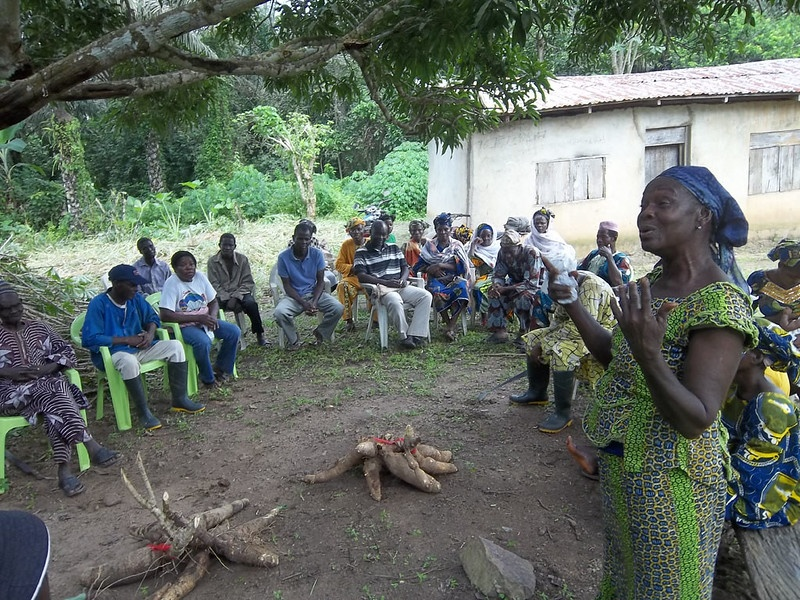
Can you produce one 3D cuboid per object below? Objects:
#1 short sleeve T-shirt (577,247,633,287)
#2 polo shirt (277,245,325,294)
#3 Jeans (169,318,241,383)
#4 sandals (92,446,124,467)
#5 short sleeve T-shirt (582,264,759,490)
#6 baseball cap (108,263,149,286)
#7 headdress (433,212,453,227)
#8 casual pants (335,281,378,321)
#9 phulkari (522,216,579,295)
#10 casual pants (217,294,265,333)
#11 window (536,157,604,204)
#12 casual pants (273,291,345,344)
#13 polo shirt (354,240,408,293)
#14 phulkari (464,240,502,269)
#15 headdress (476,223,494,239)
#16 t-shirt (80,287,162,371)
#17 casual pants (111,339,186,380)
[{"bbox_3d":[2.177,-0.334,6.675,0.412,0.413,0.647,-4,13,-32],"label":"short sleeve T-shirt"},{"bbox_3d":[-1.306,-0.375,8.347,0.675,0.623,0.352,-2,3,-15],"label":"polo shirt"},{"bbox_3d":[-2.198,0.402,7.013,0.827,0.895,0.810,-2,17,-14],"label":"Jeans"},{"bbox_3d":[-2.492,1.326,5.382,0.217,0.094,0.125,3,9,30],"label":"sandals"},{"bbox_3d":[1.207,0.367,2.881,0.724,0.886,0.329,-1,11,14],"label":"short sleeve T-shirt"},{"bbox_3d":[-2.590,-0.214,6.031,0.335,0.181,0.207,3,13,-23],"label":"baseball cap"},{"bbox_3d":[0.588,-1.093,8.874,0.339,0.134,0.375,1,16,8],"label":"headdress"},{"bbox_3d":[-0.667,0.020,8.755,0.601,0.694,0.554,0,-4,-12],"label":"casual pants"},{"bbox_3d":[2.119,-0.647,8.858,0.729,1.375,0.452,3,36,33],"label":"phulkari"},{"bbox_3d":[-2.066,0.213,8.303,0.519,0.581,0.516,-8,-6,-19],"label":"casual pants"},{"bbox_3d":[3.321,-2.310,12.331,1.478,0.840,0.087,5,18,43],"label":"window"},{"bbox_3d":[-1.169,0.209,8.140,0.822,0.674,0.684,-1,-16,-12],"label":"casual pants"},{"bbox_3d":[-0.298,-0.443,8.573,0.887,0.795,0.613,-2,-3,-30],"label":"polo shirt"},{"bbox_3d":[1.169,-0.622,9.094,0.664,0.348,0.217,6,-32,-20],"label":"phulkari"},{"bbox_3d":[1.222,-0.990,9.154,0.190,0.208,0.241,3,22,1],"label":"headdress"},{"bbox_3d":[-2.621,0.274,6.166,0.807,0.740,0.436,-3,17,5],"label":"t-shirt"},{"bbox_3d":[-2.453,0.534,6.113,0.427,0.207,0.540,-24,-5,27],"label":"casual pants"}]
